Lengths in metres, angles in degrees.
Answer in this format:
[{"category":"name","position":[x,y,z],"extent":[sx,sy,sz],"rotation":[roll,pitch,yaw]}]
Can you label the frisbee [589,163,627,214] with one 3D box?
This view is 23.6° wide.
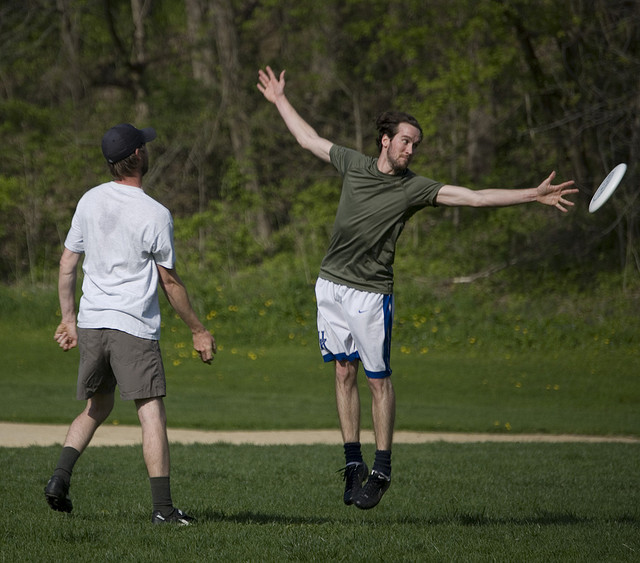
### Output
[{"category":"frisbee","position":[3.128,-1.042,16.736],"extent":[0.350,0.512,0.481],"rotation":[3,10,9]}]
